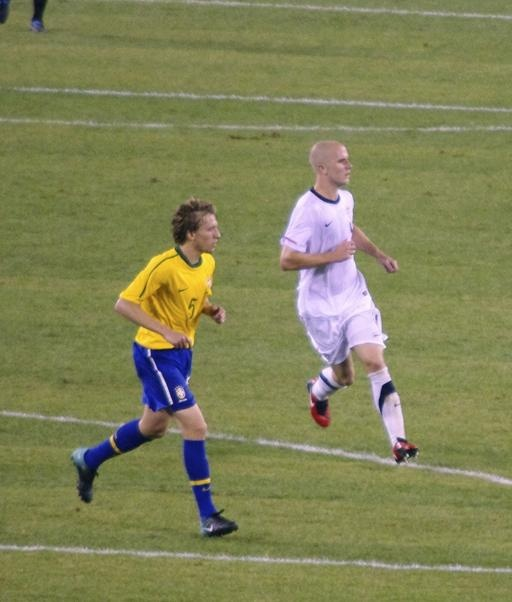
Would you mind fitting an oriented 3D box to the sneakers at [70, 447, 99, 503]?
[{"bbox_3d":[-1.467,1.455,16.448,0.246,0.484,0.176,-1,7,34],"label":"sneakers"}]

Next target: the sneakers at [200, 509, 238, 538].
[{"bbox_3d":[-0.305,1.827,15.987,0.297,0.206,0.189,-6,12,4],"label":"sneakers"}]

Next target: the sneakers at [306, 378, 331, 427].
[{"bbox_3d":[0.565,0.934,17.757,0.168,0.483,0.211,-14,9,-29],"label":"sneakers"}]

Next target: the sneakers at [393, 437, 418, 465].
[{"bbox_3d":[1.263,1.255,16.224,0.149,0.135,0.259,33,-12,4],"label":"sneakers"}]

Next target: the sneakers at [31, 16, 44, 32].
[{"bbox_3d":[-2.886,-3.681,25.153,0.173,0.112,0.278,2,14,-13],"label":"sneakers"}]
